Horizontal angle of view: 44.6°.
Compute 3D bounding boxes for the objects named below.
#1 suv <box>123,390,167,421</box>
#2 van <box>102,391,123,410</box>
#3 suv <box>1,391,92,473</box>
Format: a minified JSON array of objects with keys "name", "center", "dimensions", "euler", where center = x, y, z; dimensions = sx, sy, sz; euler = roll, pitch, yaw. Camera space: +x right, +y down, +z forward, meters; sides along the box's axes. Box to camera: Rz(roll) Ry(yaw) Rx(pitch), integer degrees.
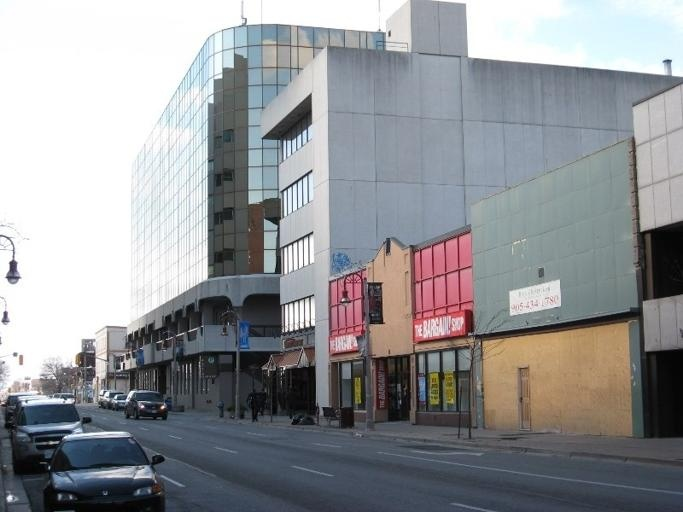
[{"name":"suv","center":[-14.947,11.192,63.103],"dimensions":[1.707,1.768,3.732],"euler":[4,-17,-21]},{"name":"van","center":[-24.432,15.306,89.449],"dimensions":[1.648,1.989,3.721],"euler":[3,-16,-20]},{"name":"suv","center":[-10.210,5.911,28.746],"dimensions":[2.013,1.910,4.106],"euler":[0,-16,-19]}]
